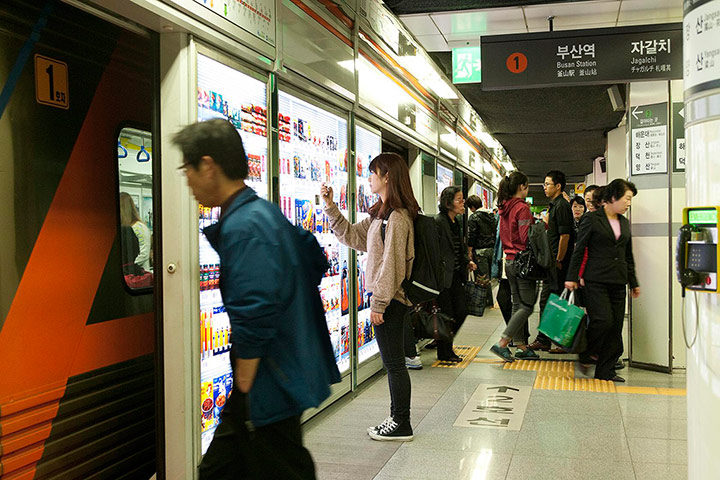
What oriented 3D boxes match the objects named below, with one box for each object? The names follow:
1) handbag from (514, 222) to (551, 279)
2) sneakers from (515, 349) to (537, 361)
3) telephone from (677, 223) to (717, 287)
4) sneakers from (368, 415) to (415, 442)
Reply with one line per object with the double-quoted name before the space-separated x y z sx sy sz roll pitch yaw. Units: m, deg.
"handbag" 2.117 0.124 6.290 0.396 0.735 0.673 9 6 44
"sneakers" 2.178 1.489 6.654 0.304 0.131 0.116 1 -4 3
"telephone" 1.747 0.082 2.643 0.048 0.340 0.194 -1 1 -27
"sneakers" 0.267 1.553 4.262 0.350 0.163 0.164 4 -4 9
